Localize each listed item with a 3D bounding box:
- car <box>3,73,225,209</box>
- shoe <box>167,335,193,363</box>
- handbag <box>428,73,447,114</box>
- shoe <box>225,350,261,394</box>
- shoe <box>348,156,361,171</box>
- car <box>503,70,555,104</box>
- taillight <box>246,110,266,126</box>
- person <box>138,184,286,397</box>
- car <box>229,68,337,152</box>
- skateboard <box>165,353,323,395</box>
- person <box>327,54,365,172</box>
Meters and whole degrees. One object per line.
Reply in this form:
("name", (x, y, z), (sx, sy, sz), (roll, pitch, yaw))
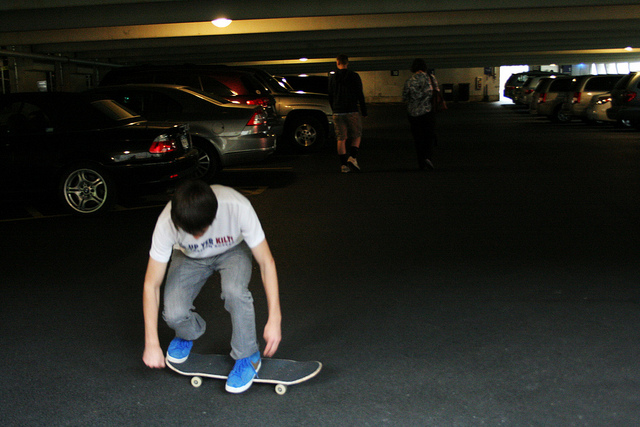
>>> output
("car", (-4.760, -1.429, 8.661), (4.904, 1.643, 2.197), (4, 7, 3))
("shoe", (-1.037, 1.013, 3.528), (0.097, 0.111, 0.285), (25, -6, -1))
("handbag", (2.740, -2.779, 11.210), (0.382, 0.907, 0.466), (2, 22, 13))
("shoe", (-0.514, 1.102, 3.334), (0.143, 0.155, 0.361), (7, 20, 11))
("shoe", (0.866, -1.179, 11.684), (0.445, 0.188, 0.165), (28, 16, -29))
("car", (19.088, -10.916, 41.788), (6.055, 2.553, 2.907), (-7, 14, 0))
("taillight", (-1.403, -2.101, 10.502), (0.391, 0.195, 0.253), (-16, 21, -6))
("person", (-0.809, 0.662, 3.589), (0.975, 1.531, 1.231), (3, 45, -1))
("car", (-1.255, -3.114, 15.393), (3.543, 1.609, 1.662), (-1, 14, -1))
("skateboard", (-0.562, 1.165, 3.403), (0.843, 0.137, 0.230), (3, 10, 9))
("person", (0.659, -2.410, 11.557), (0.735, 2.704, 0.916), (-9, 22, -14))
